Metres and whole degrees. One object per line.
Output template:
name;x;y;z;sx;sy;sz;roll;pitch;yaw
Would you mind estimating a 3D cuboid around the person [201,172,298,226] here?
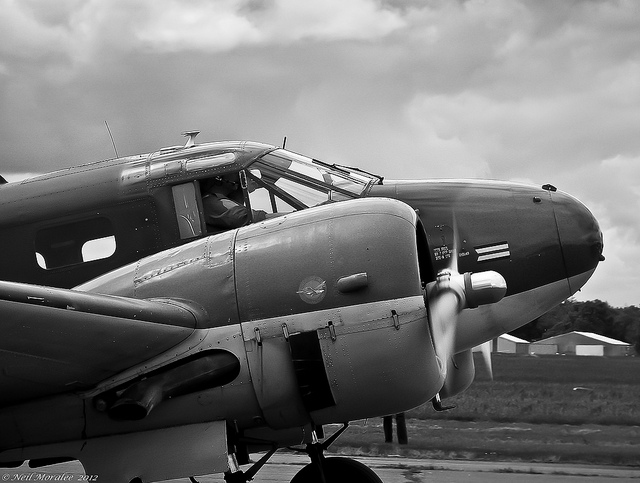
person;-0.842;-0.411;6.850;0.867;0.302;0.610;-6;24;-7
